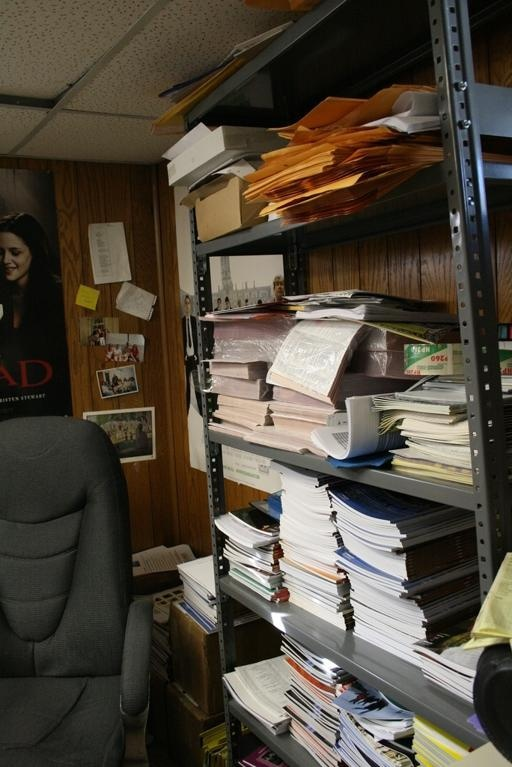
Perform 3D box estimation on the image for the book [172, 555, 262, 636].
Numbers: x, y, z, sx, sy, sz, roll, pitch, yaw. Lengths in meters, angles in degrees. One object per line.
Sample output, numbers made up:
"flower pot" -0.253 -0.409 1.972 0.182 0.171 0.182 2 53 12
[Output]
"book" -0.136 0.618 1.709 0.181 0.079 0.228 -1 0 -30
